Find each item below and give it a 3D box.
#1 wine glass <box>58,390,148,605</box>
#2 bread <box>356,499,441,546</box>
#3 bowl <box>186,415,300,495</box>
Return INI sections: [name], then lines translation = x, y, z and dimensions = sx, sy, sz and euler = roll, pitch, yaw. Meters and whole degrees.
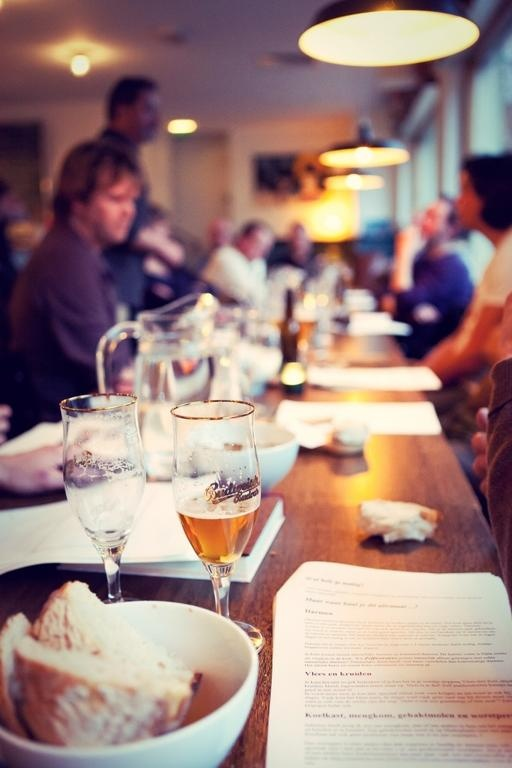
[wine glass]
translation = -0.127, 0.101, 0.554
dimensions = 0.065, 0.169, 0.051
euler = -4, 12, -16
[bread]
translation = 0.165, 0.154, 0.747
dimensions = 0.061, 0.025, 0.053
euler = -2, 6, 33
[bowl]
translation = 0.006, 0.093, 0.868
dimensions = 0.088, 0.057, 0.088
euler = 0, 11, 0
